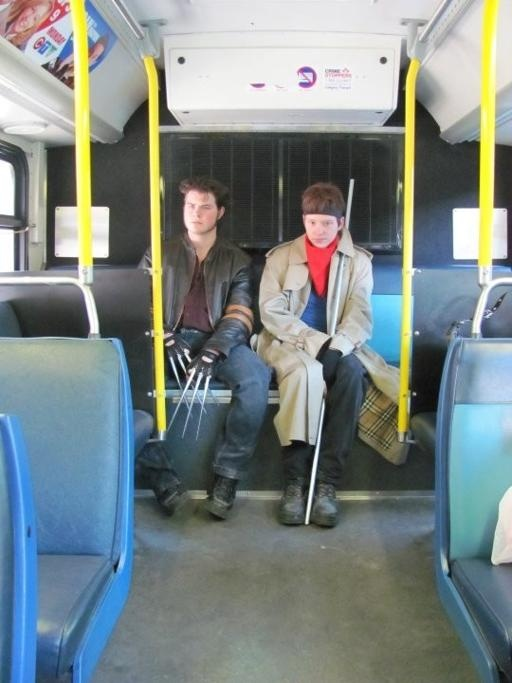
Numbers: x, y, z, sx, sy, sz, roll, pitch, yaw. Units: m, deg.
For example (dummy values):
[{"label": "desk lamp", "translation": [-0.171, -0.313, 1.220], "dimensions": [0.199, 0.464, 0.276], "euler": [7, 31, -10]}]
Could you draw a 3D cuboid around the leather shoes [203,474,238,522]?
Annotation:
[{"label": "leather shoes", "translation": [-0.167, 0.722, 2.530], "dimensions": [0.082, 0.118, 0.260], "euler": [14, -5, 1]}]

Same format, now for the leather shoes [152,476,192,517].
[{"label": "leather shoes", "translation": [-0.404, 0.748, 2.651], "dimensions": [0.148, 0.094, 0.180], "euler": [-46, 29, -12]}]

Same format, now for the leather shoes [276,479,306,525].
[{"label": "leather shoes", "translation": [0.191, 0.711, 2.604], "dimensions": [0.111, 0.154, 0.341], "euler": [4, 17, 14]}]
